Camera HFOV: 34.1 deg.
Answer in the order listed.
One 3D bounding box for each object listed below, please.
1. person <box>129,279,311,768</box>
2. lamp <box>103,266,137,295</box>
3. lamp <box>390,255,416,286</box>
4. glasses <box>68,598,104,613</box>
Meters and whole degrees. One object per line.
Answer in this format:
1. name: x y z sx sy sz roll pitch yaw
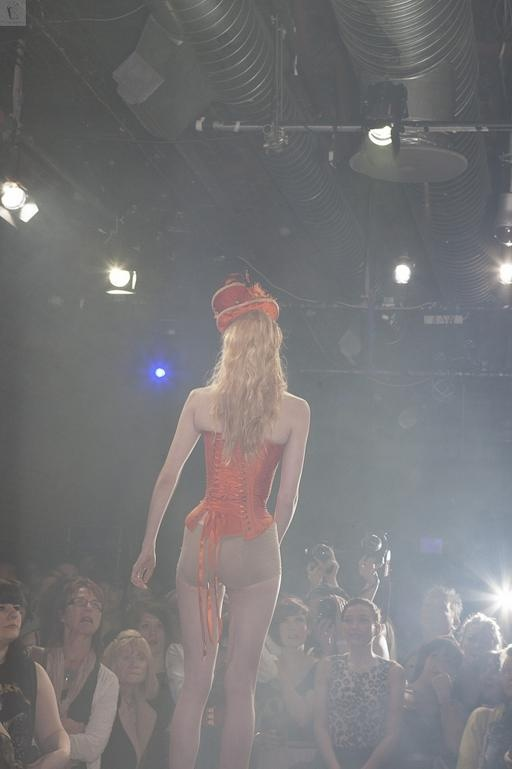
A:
1. person: -0.149 0.508 3.322 0.567 1.900 0.244 13 -17 -7
2. lamp: -0.963 -0.741 5.877 0.193 0.165 0.166 9 -18 10
3. lamp: 1.218 -0.931 7.002 0.172 0.201 0.283 8 -19 11
4. glasses: -0.862 1.099 4.166 0.101 0.033 0.105 13 -50 -15
